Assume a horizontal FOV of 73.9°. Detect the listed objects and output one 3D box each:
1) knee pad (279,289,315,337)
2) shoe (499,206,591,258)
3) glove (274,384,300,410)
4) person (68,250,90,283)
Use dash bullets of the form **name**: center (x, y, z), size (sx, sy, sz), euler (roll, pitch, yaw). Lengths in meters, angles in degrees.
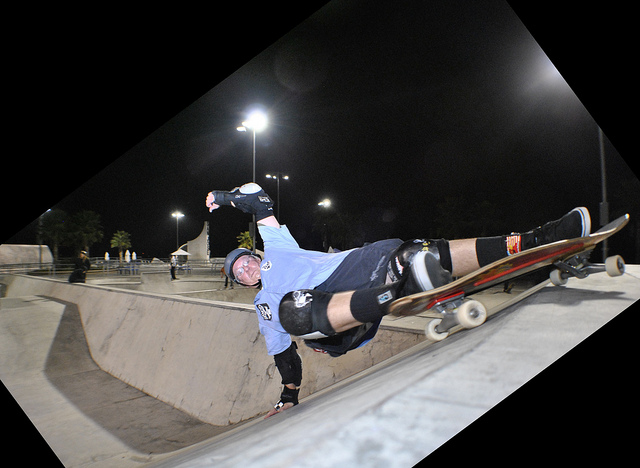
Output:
- **knee pad**: center (-0.200, 0.725, 3.782), size (0.345, 0.466, 0.131), euler (8, 7, 23)
- **shoe**: center (1.920, 0.056, 3.835), size (0.690, 0.327, 0.221), euler (-8, -24, 37)
- **glove**: center (-0.330, 1.713, 4.320), size (0.231, 0.216, 0.227), euler (5, 6, -5)
- **person**: center (-8.115, 1.219, 14.389), size (0.536, 1.437, 0.418), euler (7, 15, -35)
